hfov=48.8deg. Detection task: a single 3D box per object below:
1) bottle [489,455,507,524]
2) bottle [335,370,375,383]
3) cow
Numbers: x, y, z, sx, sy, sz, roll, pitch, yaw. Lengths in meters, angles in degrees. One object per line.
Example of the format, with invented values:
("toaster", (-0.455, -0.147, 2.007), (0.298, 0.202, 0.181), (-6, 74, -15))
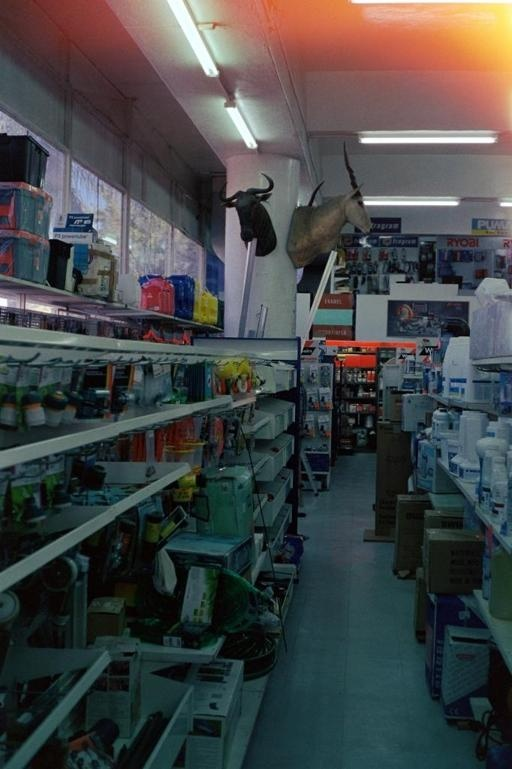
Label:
("bottle", (0.986, 0.425, 2.312), (0.072, 0.247, 0.189), (-2, -1, 22))
("bottle", (2.418, -0.191, 13.574), (0.952, 0.293, 0.320), (2, -10, 0))
("cow", (-0.064, -1.985, 6.688), (0.605, 0.888, 0.609), (-5, 3, 15))
